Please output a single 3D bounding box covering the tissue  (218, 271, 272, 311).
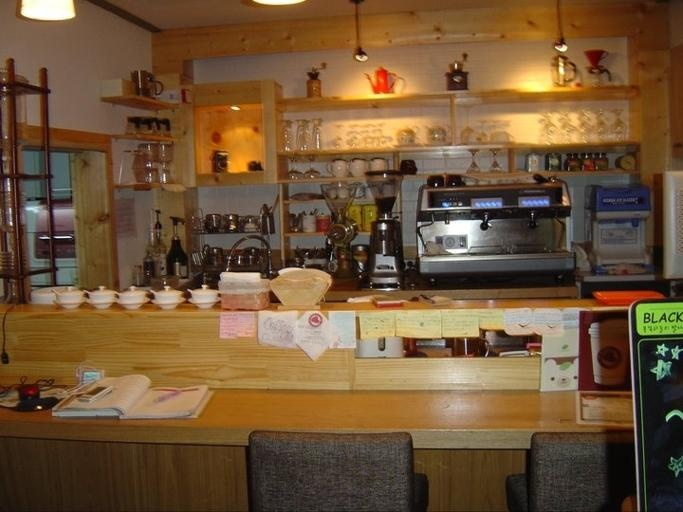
[{"bbox_3d":[-0.454,0.167,2.834,0.294,0.138,0.191,1,2,8],"label":"tissue "}]

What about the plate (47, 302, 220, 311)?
[{"bbox_3d":[-1.006,0.243,2.945,0.825,0.028,0.202,0,1,14],"label":"plate"}]

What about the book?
[{"bbox_3d":[-0.889,0.604,2.626,0.570,0.039,0.270,1,17,3],"label":"book"}]

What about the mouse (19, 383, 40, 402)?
[{"bbox_3d":[-1.391,0.594,2.679,0.079,0.059,0.171,-2,2,-25],"label":"mouse"}]

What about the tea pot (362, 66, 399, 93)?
[{"bbox_3d":[0.316,-1.560,5.513,0.342,0.198,0.347,-1,3,0],"label":"tea pot"}]

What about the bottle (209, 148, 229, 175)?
[{"bbox_3d":[-1.135,-0.871,5.598,0.120,0.218,0.193,3,2,13],"label":"bottle"}]

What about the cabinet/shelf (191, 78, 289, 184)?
[{"bbox_3d":[-0.947,-1.093,5.579,0.817,0.896,0.536,-1,2,0],"label":"cabinet/shelf"}]

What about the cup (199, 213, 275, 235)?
[{"bbox_3d":[-0.943,-0.285,5.433,0.663,0.182,0.307,-1,1,-1],"label":"cup"}]

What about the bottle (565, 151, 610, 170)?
[{"bbox_3d":[2.136,-0.826,5.280,0.289,0.094,0.070,1,0,3],"label":"bottle"}]

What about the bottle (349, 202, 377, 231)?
[{"bbox_3d":[0.176,-0.360,5.469,0.423,0.280,0.244,0,0,-2],"label":"bottle"}]

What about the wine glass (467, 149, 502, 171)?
[{"bbox_3d":[1.270,-0.825,5.349,0.293,0.221,0.533,-1,1,14],"label":"wine glass"}]

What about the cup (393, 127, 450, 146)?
[{"bbox_3d":[0.713,-1.037,5.307,0.538,0.151,0.190,0,8,9],"label":"cup"}]

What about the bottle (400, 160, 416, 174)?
[{"bbox_3d":[0.587,-0.789,5.371,0.143,0.163,0.264,-1,1,5],"label":"bottle"}]

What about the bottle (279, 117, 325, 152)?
[{"bbox_3d":[-0.380,-1.094,5.495,0.592,0.310,0.196,0,6,-4],"label":"bottle"}]

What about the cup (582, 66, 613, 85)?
[{"bbox_3d":[2.313,-1.621,5.433,0.230,0.201,0.227,-1,2,0],"label":"cup"}]

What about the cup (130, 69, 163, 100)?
[{"bbox_3d":[-1.658,-1.410,5.051,0.156,0.227,0.234,0,2,24],"label":"cup"}]

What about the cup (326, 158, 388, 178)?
[{"bbox_3d":[0.141,-0.761,5.229,0.455,0.109,0.117,1,5,16],"label":"cup"}]

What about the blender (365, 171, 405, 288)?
[{"bbox_3d":[0.321,-0.206,4.579,0.273,0.886,0.303,-1,2,5],"label":"blender"}]

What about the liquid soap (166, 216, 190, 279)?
[{"bbox_3d":[-1.480,-0.058,5.488,0.278,0.518,0.210,-5,11,-7],"label":"liquid soap"}]

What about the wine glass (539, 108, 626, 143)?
[{"bbox_3d":[2.156,-1.144,5.357,0.929,0.243,0.226,1,-16,5],"label":"wine glass"}]

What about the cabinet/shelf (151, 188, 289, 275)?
[{"bbox_3d":[-1.106,-0.200,5.459,1.237,0.633,0.517,-1,-1,0],"label":"cabinet/shelf"}]

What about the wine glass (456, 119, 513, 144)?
[{"bbox_3d":[1.277,-1.098,5.372,0.485,0.300,0.546,-1,1,13],"label":"wine glass"}]

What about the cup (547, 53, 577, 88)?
[{"bbox_3d":[1.956,-1.633,5.341,0.299,0.326,0.162,-3,2,-44],"label":"cup"}]
